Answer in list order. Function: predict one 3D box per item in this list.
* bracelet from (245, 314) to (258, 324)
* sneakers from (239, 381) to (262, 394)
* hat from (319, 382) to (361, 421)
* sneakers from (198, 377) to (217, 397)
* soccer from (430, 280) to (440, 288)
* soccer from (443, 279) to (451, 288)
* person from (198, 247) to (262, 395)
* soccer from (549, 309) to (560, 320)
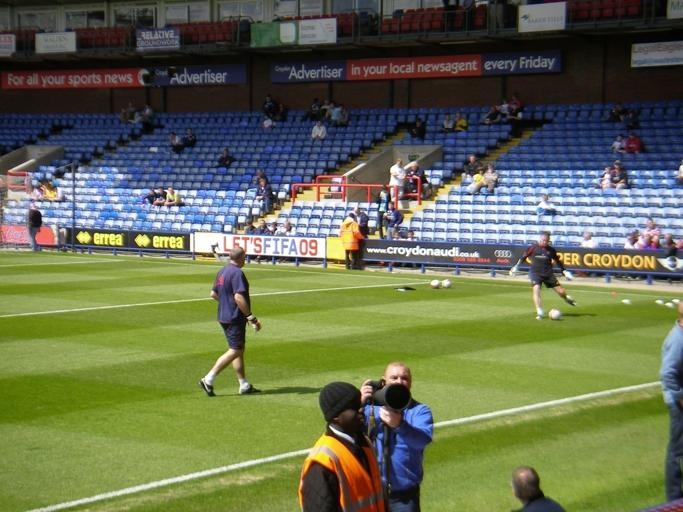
[{"bbox_3d":[-1.499,1.050,14.002,0.135,0.121,0.169,0,-2,9],"label":"bracelet"},{"bbox_3d":[-1.541,2.265,14.552,0.153,0.168,0.460,4,2,43],"label":"sneakers"},{"bbox_3d":[0.004,1.385,8.230,0.394,0.295,0.350,-15,-7,-25],"label":"hat"},{"bbox_3d":[-2.274,2.234,14.349,0.186,0.422,0.144,-26,18,-3],"label":"sneakers"},{"bbox_3d":[2.858,0.848,25.620,0.242,0.171,0.241,1,9,-3],"label":"soccer"},{"bbox_3d":[3.249,0.821,26.000,0.211,0.252,0.253,11,-8,2],"label":"soccer"},{"bbox_3d":[-1.881,1.099,14.368,0.990,2.521,1.237,-2,6,-9],"label":"person"},{"bbox_3d":[5.180,1.422,20.505,0.245,0.232,0.238,-13,2,-27],"label":"soccer"}]
